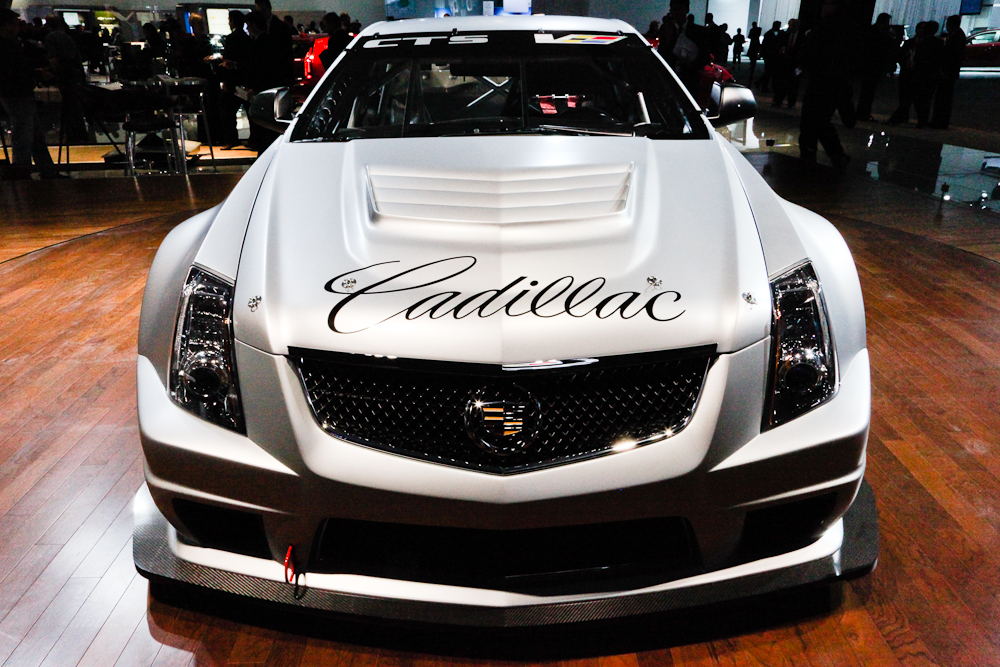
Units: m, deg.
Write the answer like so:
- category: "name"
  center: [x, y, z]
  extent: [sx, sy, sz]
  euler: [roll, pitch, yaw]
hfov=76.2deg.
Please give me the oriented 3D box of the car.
- category: "car"
  center: [-0.017, -0.559, 2.380]
  extent: [1.518, 0.873, 2.656]
  euler: [0, 32, 0]
